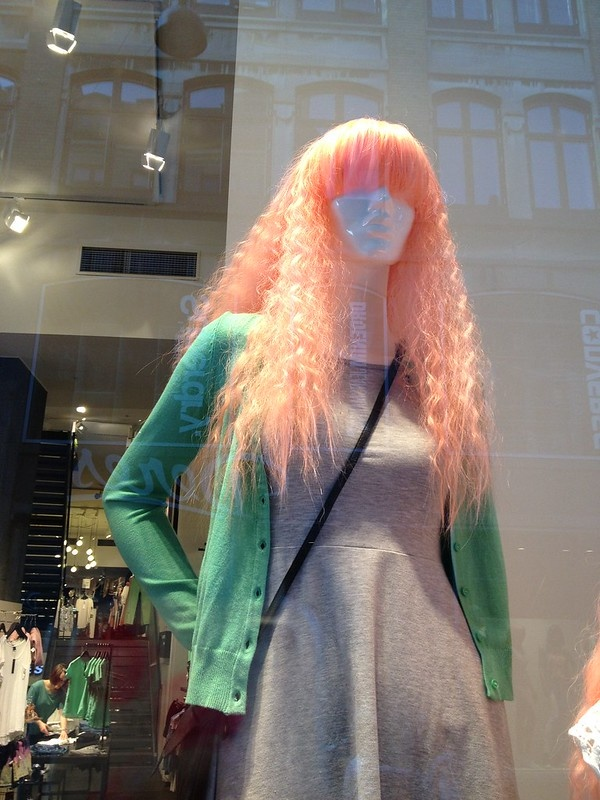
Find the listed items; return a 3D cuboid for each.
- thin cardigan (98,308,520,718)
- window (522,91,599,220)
[{"bbox_3d":[0.027,0.187,1.113,0.625,0.553,0.369,8,-29,-7],"label":"thin cardigan"},{"bbox_3d":[0.698,-0.658,1.865,0.195,0.312,0.058,2,-9,-3],"label":"window"}]
